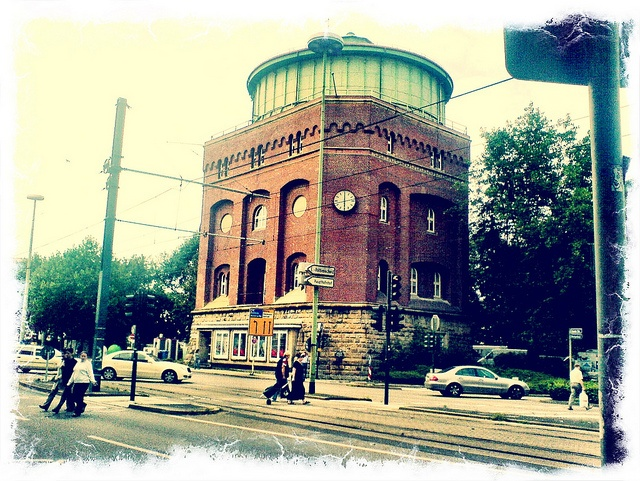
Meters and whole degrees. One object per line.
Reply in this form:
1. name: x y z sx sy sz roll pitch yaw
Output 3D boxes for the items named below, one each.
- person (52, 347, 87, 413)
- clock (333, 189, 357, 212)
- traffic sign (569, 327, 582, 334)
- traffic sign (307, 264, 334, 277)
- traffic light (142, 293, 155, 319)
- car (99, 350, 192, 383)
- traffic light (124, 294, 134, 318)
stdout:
1. person: -5.882 3.440 15.791 0.748 1.464 1.116 7 -14 -19
2. clock: 1.483 -2.177 37.528 1.246 1.276 0.167 0 -12 4
3. traffic sign: 11.949 4.328 30.750 0.819 0.309 0.258 13 -17 -36
4. traffic sign: 0.016 1.286 26.849 1.447 0.565 0.298 15 -18 -40
5. traffic light: -5.062 1.976 19.531 0.237 0.661 0.412 -2 -14 19
6. car: -7.928 5.798 29.454 4.213 1.300 1.723 0 -7 -1
7. traffic light: -5.650 1.967 19.487 0.251 0.628 0.433 6 -14 -16
